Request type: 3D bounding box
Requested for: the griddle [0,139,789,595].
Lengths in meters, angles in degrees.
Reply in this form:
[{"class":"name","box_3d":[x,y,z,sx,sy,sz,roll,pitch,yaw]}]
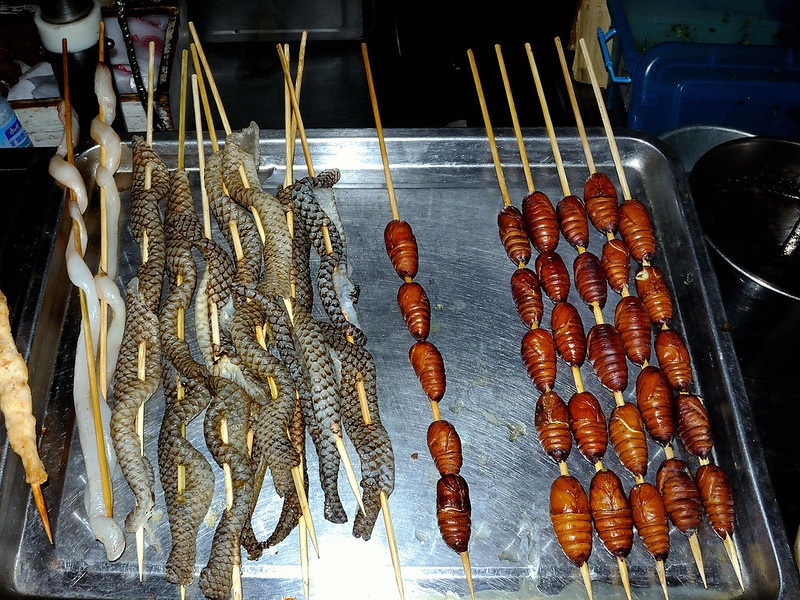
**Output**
[{"class":"griddle","box_3d":[0.156,0.233,3.113,2.090,0.196,1.672,-1,71,-3]}]
